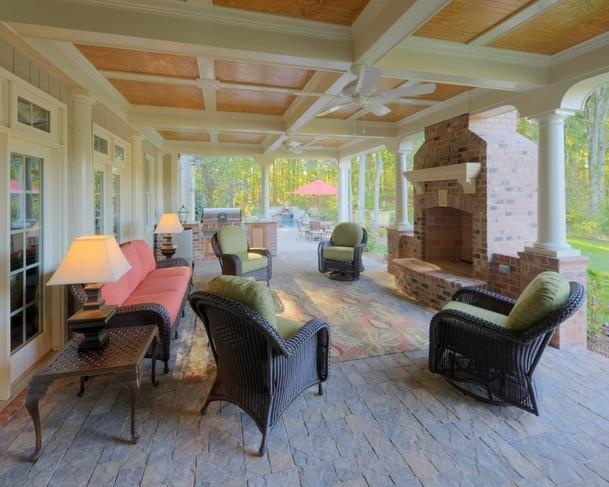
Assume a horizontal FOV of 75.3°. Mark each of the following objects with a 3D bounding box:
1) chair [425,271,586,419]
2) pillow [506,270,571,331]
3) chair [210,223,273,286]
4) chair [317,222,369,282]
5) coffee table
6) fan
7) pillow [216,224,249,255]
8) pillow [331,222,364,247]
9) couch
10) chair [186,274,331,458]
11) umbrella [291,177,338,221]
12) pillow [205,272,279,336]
[{"bbox_3d":[1.845,0.822,3.653,1.212,1.028,0.979,6,12,40],"label":"chair"},{"bbox_3d":[1.993,0.489,3.280,0.503,0.466,0.315,-3,7,-26],"label":"pillow"},{"bbox_3d":[-1.097,0.213,6.672,0.980,0.858,0.821,11,17,31],"label":"chair"},{"bbox_3d":[0.754,0.127,7.419,0.845,0.971,0.672,3,14,24],"label":"chair"},{"bbox_3d":[-1.662,1.128,3.241,0.835,0.746,0.896,-1,6,-14],"label":"coffee table"},{"bbox_3d":[0.775,-1.601,4.186,0.903,0.216,0.954,-2,7,14],"label":"fan"},{"bbox_3d":[-1.281,-0.058,6.937,0.156,0.589,0.638,-12,-3,32],"label":"pillow"},{"bbox_3d":[0.844,-0.158,7.588,0.548,0.488,0.128,13,1,27],"label":"pillow"},{"bbox_3d":[-1.630,0.633,3.717,0.503,0.450,1.351,0,10,-9],"label":"couch"},{"bbox_3d":[-0.345,0.868,3.379,1.061,1.121,1.153,4,6,18],"label":"chair"},{"bbox_3d":[0.538,-1.404,13.298,1.784,1.433,1.694,-6,15,-28],"label":"umbrella"},{"bbox_3d":[-0.519,0.513,3.191,0.359,0.559,0.632,5,-29,-25],"label":"pillow"}]
